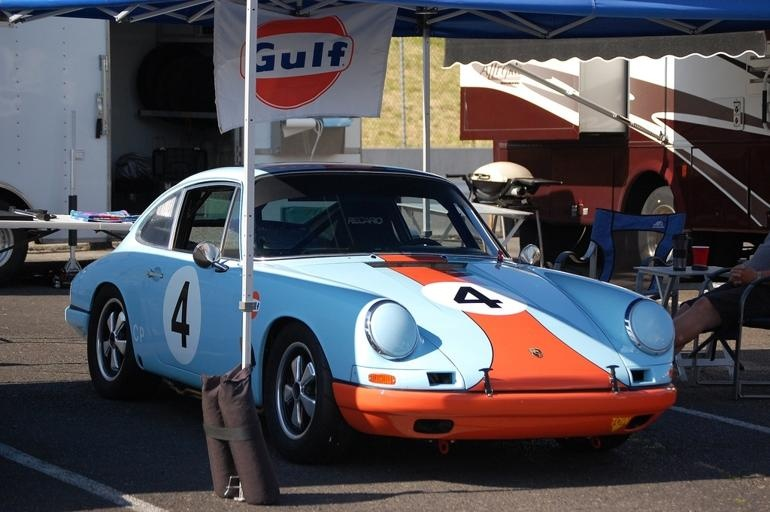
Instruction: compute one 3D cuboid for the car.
[{"bbox_3d":[-0.175,0.393,7.629,4.541,2.067,1.921,7,12,34],"label":"car"}]
